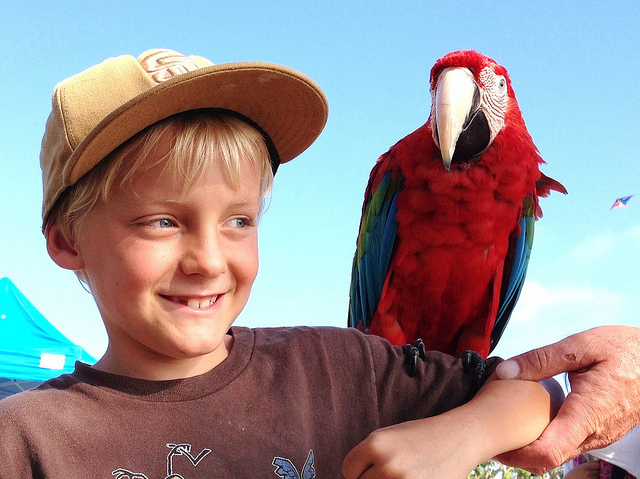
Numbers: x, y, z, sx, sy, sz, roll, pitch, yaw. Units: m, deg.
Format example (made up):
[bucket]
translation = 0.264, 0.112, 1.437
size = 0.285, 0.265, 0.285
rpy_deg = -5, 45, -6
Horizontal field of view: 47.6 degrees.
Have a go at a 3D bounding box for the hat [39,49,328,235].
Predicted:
[hat]
translation = -0.328, -0.245, 1.895
size = 0.722, 0.489, 0.334
rpy_deg = 4, -3, -24

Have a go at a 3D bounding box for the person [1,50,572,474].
[person]
translation = -0.081, 0.180, 2.197
size = 0.937, 1.437, 1.329
rpy_deg = 0, 8, -2

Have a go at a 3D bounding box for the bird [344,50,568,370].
[bird]
translation = 0.565, -0.059, 3.066
size = 0.575, 1.329, 1.261
rpy_deg = 10, -27, 0
